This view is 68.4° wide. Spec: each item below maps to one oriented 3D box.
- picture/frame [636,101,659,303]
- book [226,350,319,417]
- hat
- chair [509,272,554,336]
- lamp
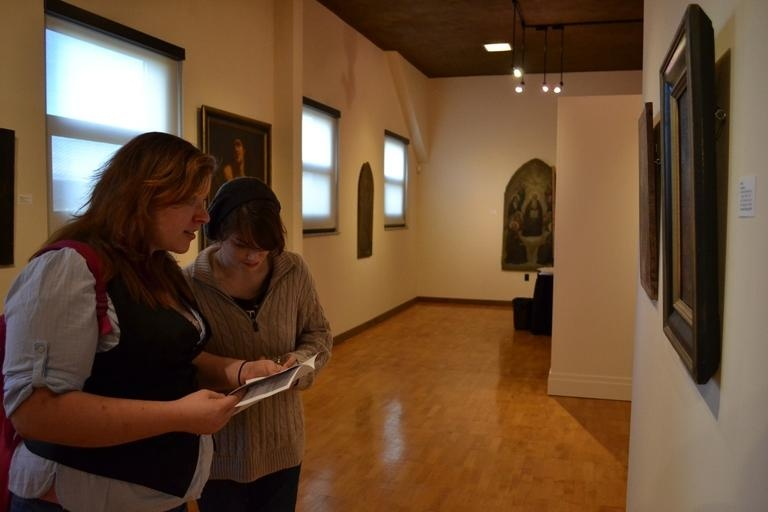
[{"bbox_3d":[1.621,-0.347,3.461,0.121,1.178,0.804,2,5,24],"label":"picture/frame"},{"bbox_3d":[-0.438,0.496,2.175,0.280,0.082,0.215,-32,0,26],"label":"book"},{"bbox_3d":[-0.683,-0.207,2.568,0.259,0.134,0.299,7,-41,-39],"label":"hat"},{"bbox_3d":[2.705,0.824,10.535,0.811,1.131,1.072,1,1,14],"label":"chair"},{"bbox_3d":[2.916,-3.895,10.565,1.043,2.067,0.272,0,29,7],"label":"lamp"}]
